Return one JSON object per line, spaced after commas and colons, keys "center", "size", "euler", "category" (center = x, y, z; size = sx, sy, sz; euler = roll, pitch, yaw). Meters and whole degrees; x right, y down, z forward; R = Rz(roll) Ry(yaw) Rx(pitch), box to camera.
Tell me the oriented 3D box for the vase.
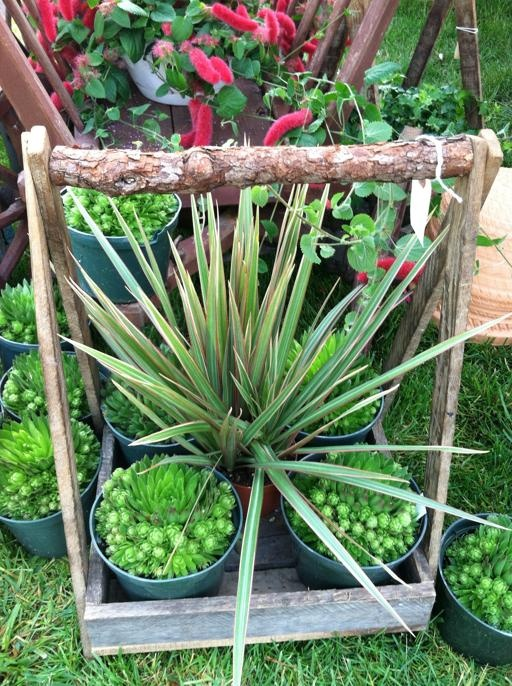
{"center": [-0.201, -0.656, 1.507], "size": [0.204, 0.128, 0.195], "euler": [22, 62, -5], "category": "vase"}
